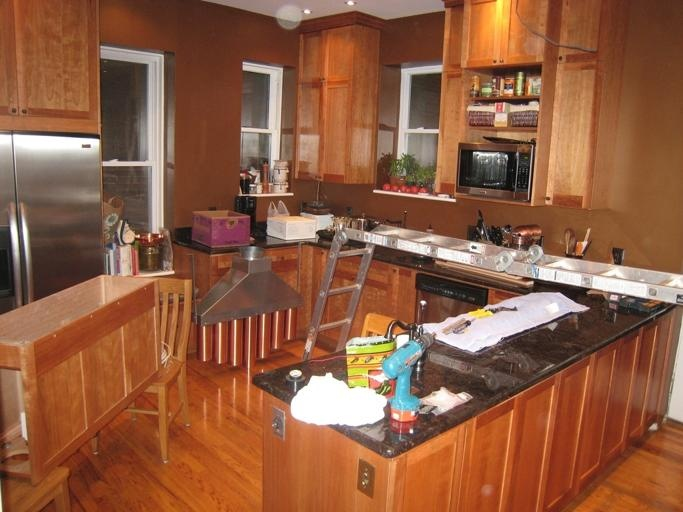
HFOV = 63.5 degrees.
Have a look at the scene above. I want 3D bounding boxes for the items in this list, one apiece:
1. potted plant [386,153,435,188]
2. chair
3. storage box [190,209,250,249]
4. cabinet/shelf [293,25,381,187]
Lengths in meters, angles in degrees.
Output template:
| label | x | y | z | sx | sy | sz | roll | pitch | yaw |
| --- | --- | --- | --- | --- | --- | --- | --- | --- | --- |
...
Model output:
| label | x | y | z | sx | sy | sz | roll | pitch | yaw |
| --- | --- | --- | --- | --- | --- | --- | --- | --- | --- |
| potted plant | 0.755 | -0.904 | 5.971 | 0.402 | 0.212 | 0.406 | 9 | 12 | 28 |
| chair | -1.352 | 0.923 | 4.094 | 0.695 | 1.414 | 0.708 | 1 | 15 | -36 |
| storage box | -1.223 | -0.286 | 5.535 | 0.568 | 0.380 | 0.339 | -6 | 16 | -40 |
| cabinet/shelf | 0.006 | -1.591 | 6.032 | 0.431 | 1.624 | 0.974 | -8 | 16 | -37 |
